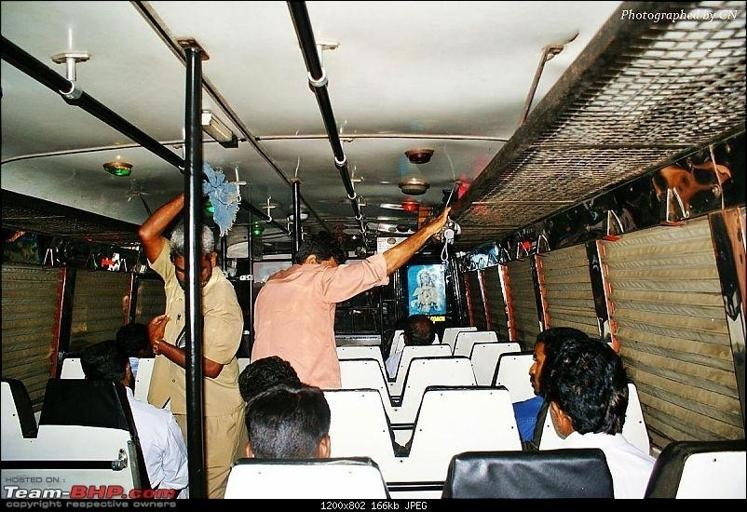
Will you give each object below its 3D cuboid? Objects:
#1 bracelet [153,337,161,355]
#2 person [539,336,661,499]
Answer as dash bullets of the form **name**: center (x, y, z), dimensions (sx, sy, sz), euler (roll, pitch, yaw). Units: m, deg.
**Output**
- **bracelet**: center (-1.539, 0.647, 3.247), dimensions (0.058, 0.139, 0.117), euler (-2, -4, -17)
- **person**: center (1.401, 0.976, 2.874), dimensions (0.599, 0.894, 0.363), euler (-3, -6, 18)
